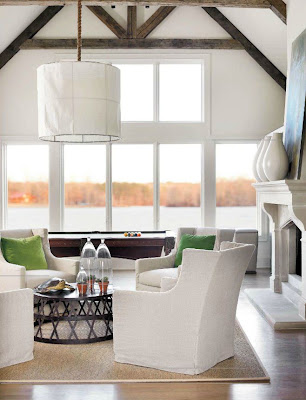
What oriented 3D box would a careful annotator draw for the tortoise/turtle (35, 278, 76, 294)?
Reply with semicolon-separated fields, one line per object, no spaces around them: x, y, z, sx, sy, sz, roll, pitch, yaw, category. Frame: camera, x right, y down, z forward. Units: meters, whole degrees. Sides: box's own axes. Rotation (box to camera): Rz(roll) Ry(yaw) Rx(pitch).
-0.788;0.708;3.675;0.289;0.108;0.265;2;3;-24;tortoise/turtle

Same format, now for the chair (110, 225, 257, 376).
0.291;0.651;3.391;0.991;0.916;0.757;-2;-4;32;chair

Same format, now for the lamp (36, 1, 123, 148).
-0.556;-1.015;3.518;0.642;1.142;0.558;-1;3;-14;lamp
